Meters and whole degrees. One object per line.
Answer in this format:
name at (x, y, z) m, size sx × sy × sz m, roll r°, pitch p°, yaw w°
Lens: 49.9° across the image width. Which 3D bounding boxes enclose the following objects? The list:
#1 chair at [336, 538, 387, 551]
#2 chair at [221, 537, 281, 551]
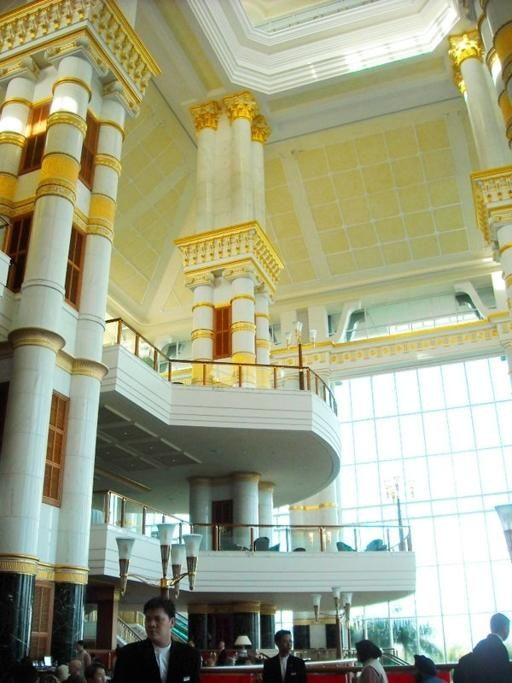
chair at (2.822, 5.443, 14.641) m, size 1.471 × 0.295 × 0.144 m, roll 7°, pitch -25°, yaw -19°
chair at (-0.118, 5.177, 13.970) m, size 1.476 × 0.340 × 0.230 m, roll 7°, pitch -25°, yaw -20°
